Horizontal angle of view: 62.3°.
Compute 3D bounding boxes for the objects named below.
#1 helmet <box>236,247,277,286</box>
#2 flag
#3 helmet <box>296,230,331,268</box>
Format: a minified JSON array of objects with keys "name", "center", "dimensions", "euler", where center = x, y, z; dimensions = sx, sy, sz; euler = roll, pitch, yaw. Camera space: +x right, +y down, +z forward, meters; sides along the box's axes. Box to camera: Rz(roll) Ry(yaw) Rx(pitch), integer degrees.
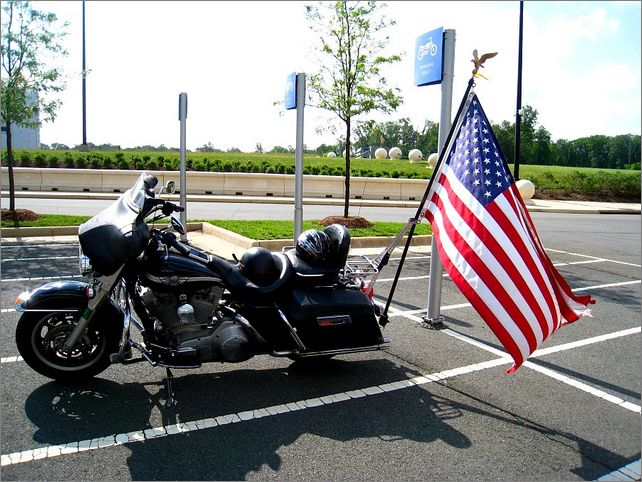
[{"name":"helmet","center":[-0.643,0.247,5.707],"dimensions":[0.469,0.332,0.639],"euler":[6,16,-22]},{"name":"flag","center":[1.881,-0.086,5.836],"dimensions":[1.250,3.235,1.431],"euler":[-7,11,-37]},{"name":"helmet","center":[-0.089,0.095,5.725],"dimensions":[0.307,0.330,0.402],"euler":[2,15,-11]}]
